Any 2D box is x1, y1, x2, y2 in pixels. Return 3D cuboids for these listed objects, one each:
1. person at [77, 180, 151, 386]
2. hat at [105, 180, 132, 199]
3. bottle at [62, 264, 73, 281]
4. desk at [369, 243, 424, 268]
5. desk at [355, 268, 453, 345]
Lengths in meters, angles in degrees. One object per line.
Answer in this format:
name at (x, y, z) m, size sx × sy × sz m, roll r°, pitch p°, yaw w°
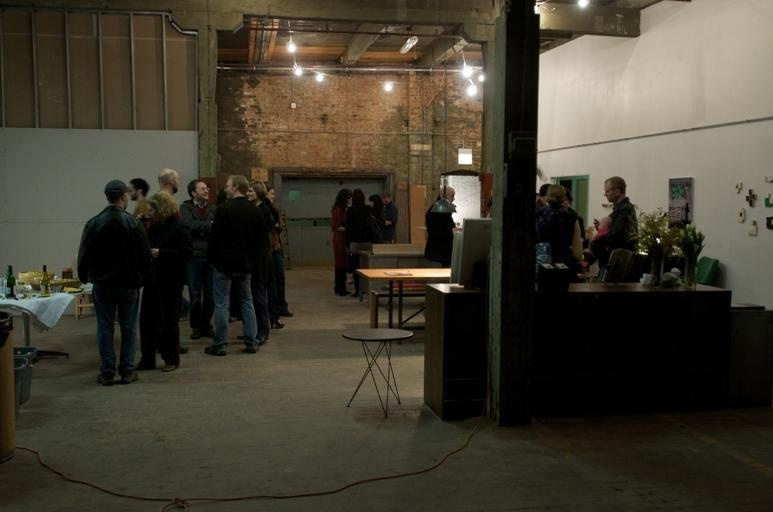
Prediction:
person at (-3.141, 0.311, 8.651) m, size 0.788 × 2.359 × 0.393 m, roll 0°, pitch 3°, yaw -16°
hat at (-3.108, -0.779, 8.732) m, size 0.218 × 0.160 × 0.310 m, roll -1°, pitch 8°, yaw 2°
bottle at (-4.536, 0.238, 10.676) m, size 0.155 × 0.195 × 0.163 m, roll 1°, pitch -2°, yaw 0°
desk at (0.184, 0.000, 12.977) m, size 0.997 × 0.374 × 0.526 m, roll 1°, pitch 4°, yaw -2°
desk at (0.149, 0.913, 10.830) m, size 1.608 × 0.782 × 0.849 m, roll 1°, pitch 1°, yaw -13°
